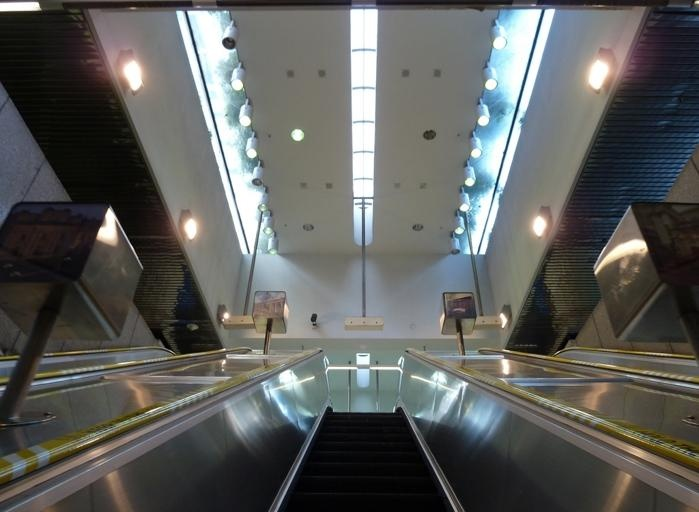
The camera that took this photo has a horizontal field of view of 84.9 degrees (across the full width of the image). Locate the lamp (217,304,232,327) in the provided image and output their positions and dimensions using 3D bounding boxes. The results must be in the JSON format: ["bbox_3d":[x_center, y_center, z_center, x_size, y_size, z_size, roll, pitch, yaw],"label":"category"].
[{"bbox_3d":[-3.162,1.524,9.460,0.133,0.460,0.480,-13,-69,13],"label":"lamp"}]

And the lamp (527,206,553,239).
[{"bbox_3d":[3.785,-0.640,7.533,0.389,0.558,0.465,11,-1,-3],"label":"lamp"}]

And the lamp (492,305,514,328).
[{"bbox_3d":[3.836,1.535,9.427,0.290,0.667,0.445,2,-15,2],"label":"lamp"}]

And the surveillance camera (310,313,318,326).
[{"bbox_3d":[-1.021,1.814,10.827,0.202,0.403,0.240,3,-33,-8],"label":"surveillance camera"}]

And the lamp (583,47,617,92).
[{"bbox_3d":[3.528,-2.516,5.272,0.183,0.550,0.512,-6,-34,7],"label":"lamp"}]
